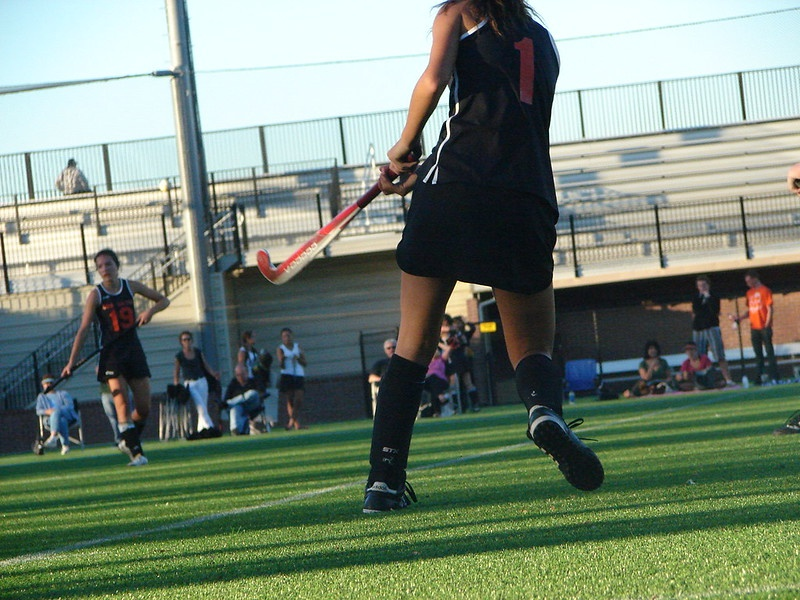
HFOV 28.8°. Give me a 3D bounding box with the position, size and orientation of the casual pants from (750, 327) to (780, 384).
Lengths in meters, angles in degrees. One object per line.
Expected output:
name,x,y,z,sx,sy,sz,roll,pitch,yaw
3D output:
casual pants,6.729,0.965,28.719,0.462,1.117,0.314,-9,-14,25

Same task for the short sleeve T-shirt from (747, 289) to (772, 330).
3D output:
short sleeve T-shirt,6.600,0.163,28.511,0.285,0.889,0.649,8,-8,-34

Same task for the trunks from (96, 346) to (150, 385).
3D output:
trunks,-4.120,0.963,23.235,0.874,0.839,0.462,0,-11,-31

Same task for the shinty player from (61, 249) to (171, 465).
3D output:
shinty player,-4.246,0.806,23.547,1.267,3.361,1.381,-1,-1,14

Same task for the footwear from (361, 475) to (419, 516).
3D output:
footwear,-0.137,2.393,18.914,0.291,0.321,0.736,3,2,33

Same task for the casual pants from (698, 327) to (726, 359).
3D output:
casual pants,6.041,0.845,30.257,0.493,0.678,0.256,-12,-17,34
